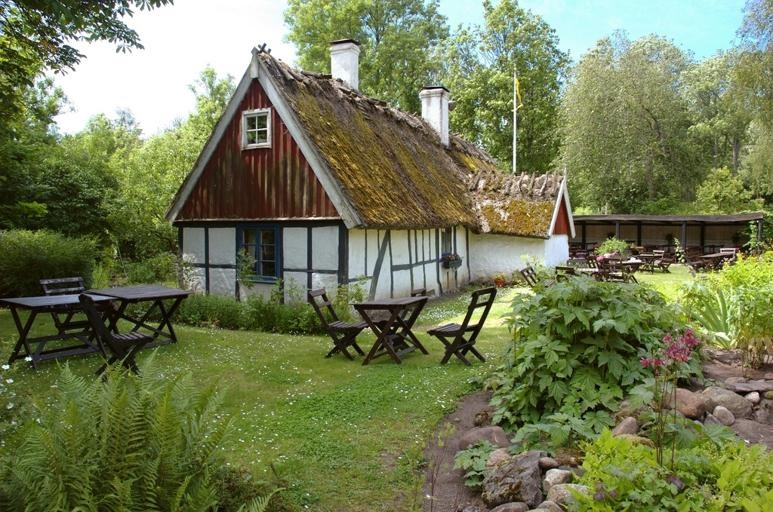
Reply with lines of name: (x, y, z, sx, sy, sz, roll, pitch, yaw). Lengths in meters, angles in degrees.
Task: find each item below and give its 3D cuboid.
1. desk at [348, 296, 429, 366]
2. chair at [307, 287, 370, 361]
desk: (-0.292, 1.255, 10.964, 0.923, 1.120, 1.332, -9, 21, -18)
chair: (-0.976, 1.294, 11.600, 1.271, 1.830, 1.166, -4, 0, 15)
